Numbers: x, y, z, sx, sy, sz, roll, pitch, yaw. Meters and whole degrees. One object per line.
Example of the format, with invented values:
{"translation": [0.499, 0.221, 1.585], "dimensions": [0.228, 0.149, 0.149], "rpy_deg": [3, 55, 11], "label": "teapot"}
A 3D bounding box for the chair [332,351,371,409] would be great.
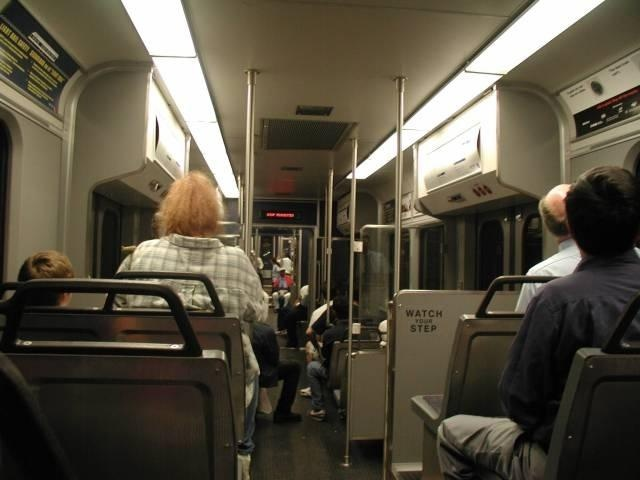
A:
{"translation": [0.368, 1.567, 5.981], "dimensions": [0.295, 0.543, 0.323], "rpy_deg": [9, -14, -16], "label": "chair"}

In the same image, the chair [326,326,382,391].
{"translation": [0.389, 1.427, 6.050], "dimensions": [0.707, 0.726, 0.489], "rpy_deg": [8, -8, -44], "label": "chair"}
